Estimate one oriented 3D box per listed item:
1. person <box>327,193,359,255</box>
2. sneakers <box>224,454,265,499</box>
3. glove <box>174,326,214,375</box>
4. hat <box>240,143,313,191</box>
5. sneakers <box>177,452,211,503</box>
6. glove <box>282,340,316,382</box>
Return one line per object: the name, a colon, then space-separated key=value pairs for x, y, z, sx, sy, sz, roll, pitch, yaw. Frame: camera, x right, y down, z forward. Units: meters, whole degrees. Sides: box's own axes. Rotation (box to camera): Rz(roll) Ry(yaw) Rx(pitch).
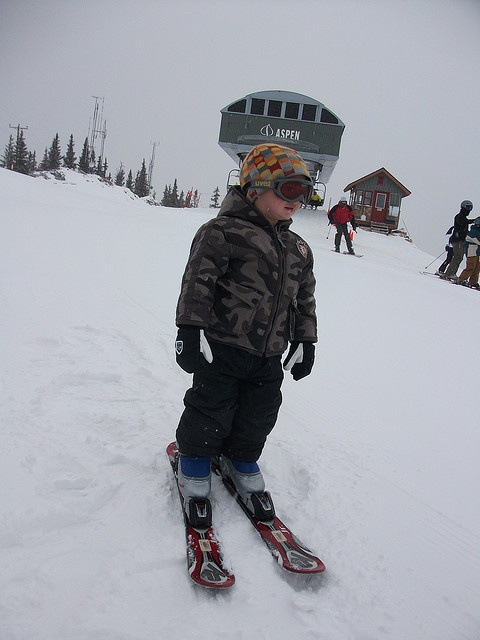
person: x=2.260 y=-2.095 z=11.296 sx=0.759 sy=1.175 sz=2.006 roll=13 pitch=9 yaw=10
sneakers: x=0.018 y=0.676 z=2.233 sx=0.078 sy=0.096 sz=0.217 roll=1 pitch=18 yaw=-21
glove: x=-0.188 y=0.102 z=2.061 sx=0.156 sy=0.286 sz=0.204 roll=-2 pitch=11 yaw=-10
hat: x=0.150 y=-0.680 z=2.162 sx=0.261 sy=0.210 sz=0.209 roll=3 pitch=21 yaw=1
sneakers: x=-0.192 y=0.645 z=2.102 sx=0.079 sy=0.111 sz=0.241 roll=3 pitch=16 yaw=-10
glove: x=0.235 y=0.181 z=2.368 sx=0.071 sy=0.170 sz=0.171 roll=28 pitch=24 yaw=20
